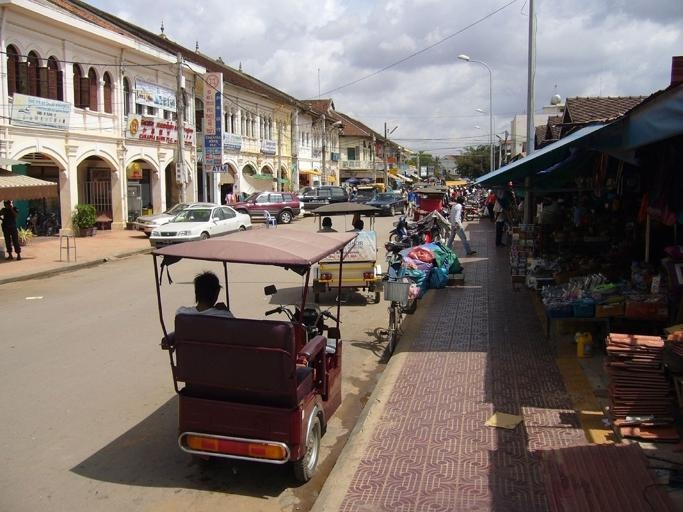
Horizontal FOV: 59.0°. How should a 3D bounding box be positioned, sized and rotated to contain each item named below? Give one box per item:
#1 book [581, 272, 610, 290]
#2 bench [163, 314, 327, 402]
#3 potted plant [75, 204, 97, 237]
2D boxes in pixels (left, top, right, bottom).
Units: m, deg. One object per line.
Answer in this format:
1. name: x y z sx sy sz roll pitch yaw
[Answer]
1. book: 3.985 0.396 9.479 0.293 0.123 0.386 -1 9 29
2. bench: -0.991 1.163 6.758 1.532 0.910 1.578 2 -4 25
3. potted plant: -10.698 -1.448 25.004 0.847 1.350 0.948 -6 11 -20
